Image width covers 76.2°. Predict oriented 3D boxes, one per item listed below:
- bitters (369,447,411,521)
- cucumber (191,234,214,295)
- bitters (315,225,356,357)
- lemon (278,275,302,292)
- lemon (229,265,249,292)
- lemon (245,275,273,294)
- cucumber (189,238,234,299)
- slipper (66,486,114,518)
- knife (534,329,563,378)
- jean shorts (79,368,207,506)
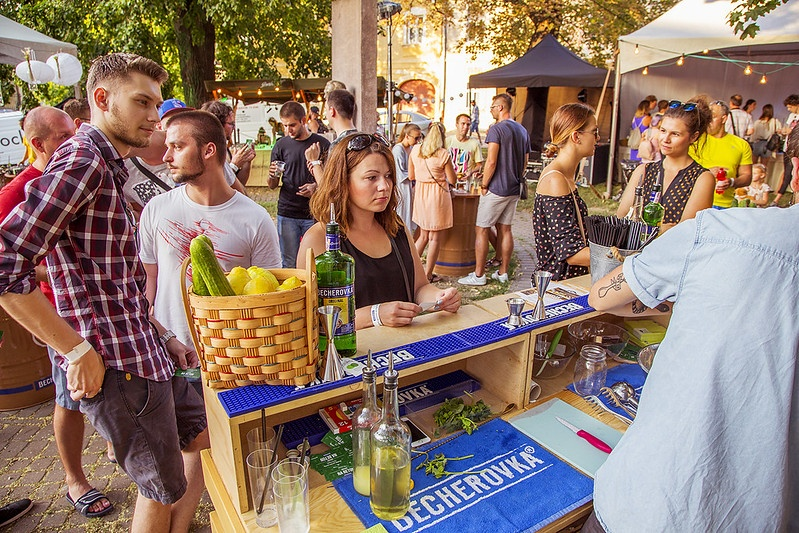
[{"bbox_3d":[-0.037,0.850,2.309,0.158,0.525,0.157,1,-6,3],"label":"bitters"},{"bbox_3d":[-0.844,0.000,2.162,0.070,0.262,0.072,6,16,33],"label":"cucumber"},{"bbox_3d":[-0.301,0.122,2.408,0.174,0.653,0.247,-4,19,-5],"label":"bitters"},{"bbox_3d":[-0.480,0.074,2.214,0.059,0.049,0.079,-10,0,15],"label":"lemon"},{"bbox_3d":[-0.694,0.054,2.193,0.083,0.106,0.104,-10,-18,37],"label":"lemon"},{"bbox_3d":[-0.591,0.084,2.153,0.078,0.091,0.086,-12,32,-13],"label":"lemon"},{"bbox_3d":[-0.795,-0.007,2.177,0.184,0.231,0.199,-5,16,-26],"label":"cucumber"},{"bbox_3d":[-2.218,1.659,3.629,0.369,0.101,0.139,5,11,32],"label":"slipper"},{"bbox_3d":[0.900,0.537,3.094,0.061,0.354,0.031,28,2,-12],"label":"knife"},{"bbox_3d":[-1.437,0.911,3.064,0.353,0.848,0.627,-17,-3,10],"label":"jean shorts"}]
